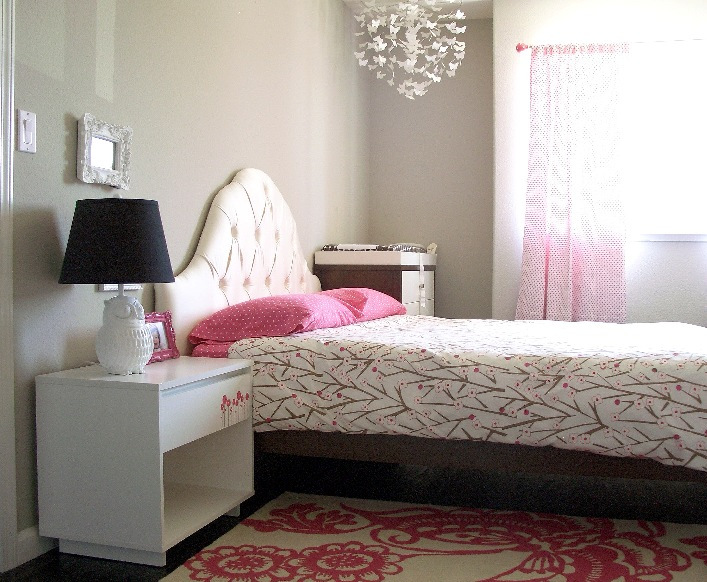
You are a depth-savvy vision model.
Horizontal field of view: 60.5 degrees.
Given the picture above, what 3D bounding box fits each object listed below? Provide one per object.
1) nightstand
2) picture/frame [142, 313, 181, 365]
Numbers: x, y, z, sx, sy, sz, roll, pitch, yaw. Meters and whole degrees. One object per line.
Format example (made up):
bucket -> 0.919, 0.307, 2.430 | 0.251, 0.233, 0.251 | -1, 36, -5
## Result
nightstand -> -0.674, 0.520, 2.038 | 0.526, 0.552, 0.509 | 2, 6, 15
picture/frame -> -0.687, 0.171, 2.146 | 0.012, 0.151, 0.190 | -13, -2, 14
